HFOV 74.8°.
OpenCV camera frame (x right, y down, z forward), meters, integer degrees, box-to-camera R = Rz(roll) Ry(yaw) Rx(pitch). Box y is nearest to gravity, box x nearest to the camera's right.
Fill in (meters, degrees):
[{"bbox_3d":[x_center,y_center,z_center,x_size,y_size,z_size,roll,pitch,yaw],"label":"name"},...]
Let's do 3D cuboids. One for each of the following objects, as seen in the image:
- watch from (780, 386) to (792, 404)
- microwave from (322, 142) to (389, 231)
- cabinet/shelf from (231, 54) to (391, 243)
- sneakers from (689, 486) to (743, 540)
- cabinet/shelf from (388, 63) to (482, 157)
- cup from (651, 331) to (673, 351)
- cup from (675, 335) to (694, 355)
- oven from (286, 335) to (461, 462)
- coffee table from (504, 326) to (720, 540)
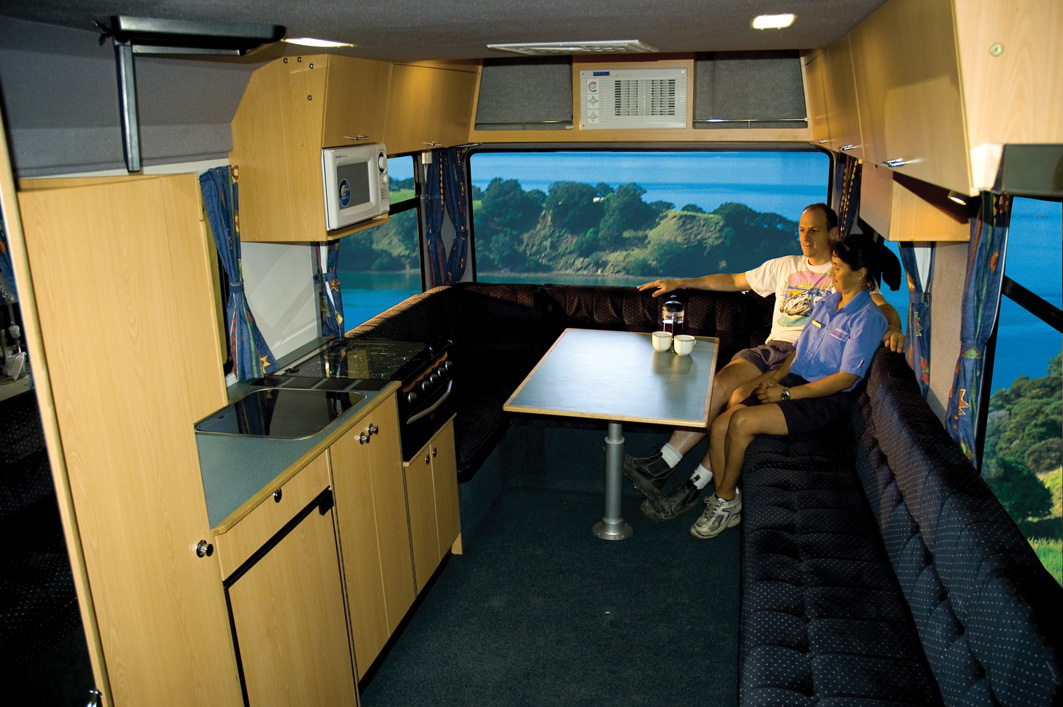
[{"bbox_3d":[1.447,0.231,3.951,0.050,0.070,0.029,12,6,23],"label":"watch"},{"bbox_3d":[-1.045,-0.917,3.713,0.361,0.386,0.611,6,21,12],"label":"microwave"},{"bbox_3d":[-1.138,-1.150,3.828,0.537,0.832,0.924,4,20,8],"label":"cabinet/shelf"},{"bbox_3d":[1.140,0.920,4.112,0.437,0.194,0.154,-16,16,-41],"label":"sneakers"},{"bbox_3d":[-0.662,-1.692,4.723,0.304,0.626,1.572,0,15,9],"label":"cabinet/shelf"},{"bbox_3d":[0.813,-0.078,4.322,0.124,0.090,0.101,2,12,9],"label":"cup"},{"bbox_3d":[0.933,-0.053,4.253,0.107,0.091,0.125,2,21,10],"label":"cup"},{"bbox_3d":[-0.850,0.171,3.642,0.662,0.399,0.639,3,13,11],"label":"oven"},{"bbox_3d":[0.514,0.140,4.030,1.146,1.105,1.658,2,18,10],"label":"coffee table"}]
